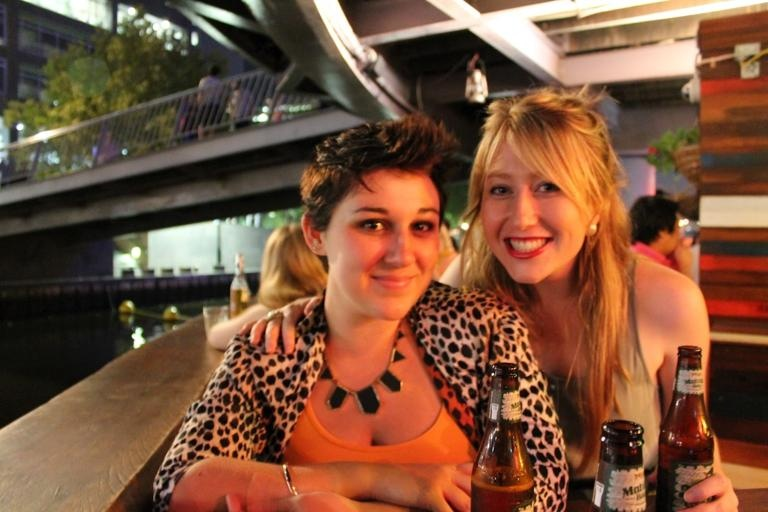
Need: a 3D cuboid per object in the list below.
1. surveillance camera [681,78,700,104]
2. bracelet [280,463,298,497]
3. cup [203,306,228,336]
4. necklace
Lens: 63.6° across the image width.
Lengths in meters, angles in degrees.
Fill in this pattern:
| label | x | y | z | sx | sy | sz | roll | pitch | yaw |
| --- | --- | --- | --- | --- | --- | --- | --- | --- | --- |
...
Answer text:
| label | x | y | z | sx | sy | sz | roll | pitch | yaw |
| --- | --- | --- | --- | --- | --- | --- | --- | --- | --- |
| surveillance camera | 1.562 | -0.828 | 3.128 | 0.109 | 0.117 | 0.113 | 1 | -10 | 6 |
| bracelet | -0.326 | 0.764 | 2.123 | 0.023 | 0.077 | 0.061 | -29 | -25 | 0 |
| cup | -1.039 | 0.387 | 3.724 | 0.163 | 0.185 | 0.159 | -3 | -8 | 0 |
| necklace | -0.091 | 0.442 | 2.419 | 0.358 | 0.343 | 0.007 | -12 | -32 | -5 |
